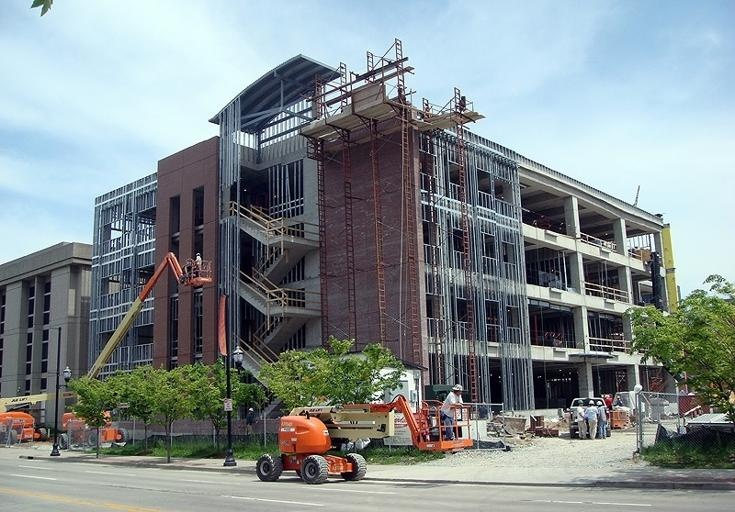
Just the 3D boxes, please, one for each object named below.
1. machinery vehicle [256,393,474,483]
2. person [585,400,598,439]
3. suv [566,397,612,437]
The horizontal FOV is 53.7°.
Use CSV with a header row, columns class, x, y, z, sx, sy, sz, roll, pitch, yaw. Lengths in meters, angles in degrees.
class,x,y,z,sx,sy,sz,roll,pitch,yaw
machinery vehicle,-1.349,8.008,31.179,8.518,3.721,4.112,-9,-15,26
person,13.047,9.518,42.476,0.855,2.106,0.784,4,-10,12
suv,13.378,9.989,44.709,2.358,2.095,4.477,-4,-8,29
